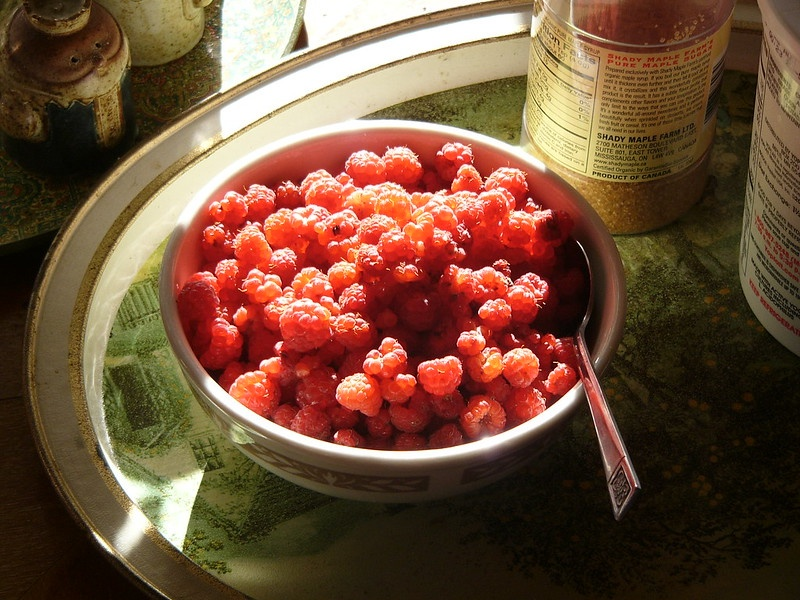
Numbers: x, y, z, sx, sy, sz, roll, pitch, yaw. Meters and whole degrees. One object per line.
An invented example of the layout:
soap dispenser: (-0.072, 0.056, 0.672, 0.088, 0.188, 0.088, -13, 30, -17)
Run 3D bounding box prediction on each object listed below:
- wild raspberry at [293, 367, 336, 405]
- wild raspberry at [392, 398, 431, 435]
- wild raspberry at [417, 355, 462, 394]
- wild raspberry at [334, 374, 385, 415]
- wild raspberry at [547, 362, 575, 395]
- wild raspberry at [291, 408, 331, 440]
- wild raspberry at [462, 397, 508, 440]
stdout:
wild raspberry: (-0.065, 0.070, 0.565, 0.024, 0.018, 0.032, 41, 82, 5)
wild raspberry: (0.008, 0.091, 0.564, 0.031, 0.023, 0.021, -11, 58, -2)
wild raspberry: (0.032, 0.060, 0.559, 0.036, 0.034, 0.026, -8, 58, 0)
wild raspberry: (-0.030, 0.072, 0.554, 0.032, 0.037, 0.027, 0, 58, 5)
wild raspberry: (0.127, 0.063, 0.571, 0.024, 0.018, 0.013, -40, 25, -12)
wild raspberry: (-0.067, 0.093, 0.556, 0.027, 0.026, 0.025, 5, 81, -38)
wild raspberry: (0.065, 0.090, 0.562, 0.035, 0.024, 0.031, -11, 58, -2)
